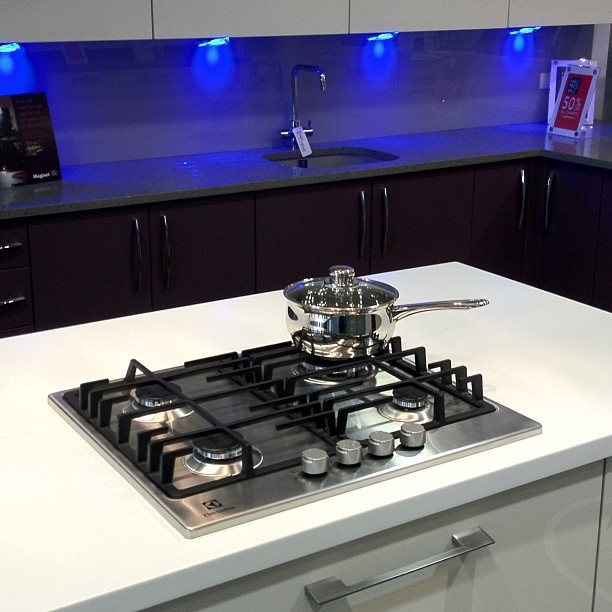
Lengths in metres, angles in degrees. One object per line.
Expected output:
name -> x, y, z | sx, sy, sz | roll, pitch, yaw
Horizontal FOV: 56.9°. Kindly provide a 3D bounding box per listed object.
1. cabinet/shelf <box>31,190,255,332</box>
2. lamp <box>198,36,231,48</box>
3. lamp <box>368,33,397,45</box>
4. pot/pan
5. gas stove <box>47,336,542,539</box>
cabinet/shelf -> -0.698, -0.199, 2.251 | 0.666, 0.277, 0.220 | -9, 20, -24
lamp -> -0.487, -1.396, 3.005 | 0.172, 0.041, 0.053 | -8, 20, -10
lamp -> 0.464, -1.599, 3.371 | 0.220, 0.047, 0.026 | -15, 23, -29
pot/pan -> 0.143, -0.007, 0.989 | 0.315, 0.110, 0.172 | 1, 10, 8
gas stove -> -0.033, 0.131, 0.866 | 0.604, 0.117, 0.477 | -15, 21, -27
